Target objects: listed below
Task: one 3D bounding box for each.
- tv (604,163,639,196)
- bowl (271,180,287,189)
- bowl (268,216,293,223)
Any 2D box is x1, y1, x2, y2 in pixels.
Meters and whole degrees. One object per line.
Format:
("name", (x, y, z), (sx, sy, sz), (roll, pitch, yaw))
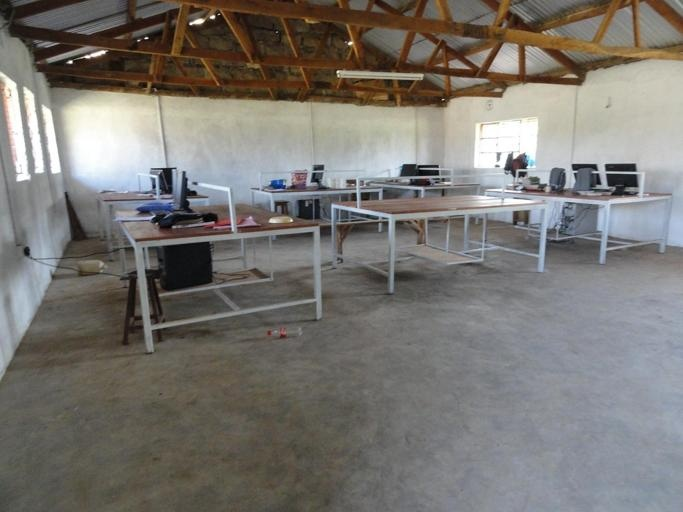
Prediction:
("tv", (4.537, -1.214, 8.040), (0.368, 0.522, 0.656), (-29, 29, -36))
("bowl", (-1.256, -1.469, 10.258), (0.257, 0.119, 0.239), (0, 13, 0))
("bowl", (-0.642, -0.387, 5.308), (0.266, 0.045, 0.379), (-1, 12, -2))
